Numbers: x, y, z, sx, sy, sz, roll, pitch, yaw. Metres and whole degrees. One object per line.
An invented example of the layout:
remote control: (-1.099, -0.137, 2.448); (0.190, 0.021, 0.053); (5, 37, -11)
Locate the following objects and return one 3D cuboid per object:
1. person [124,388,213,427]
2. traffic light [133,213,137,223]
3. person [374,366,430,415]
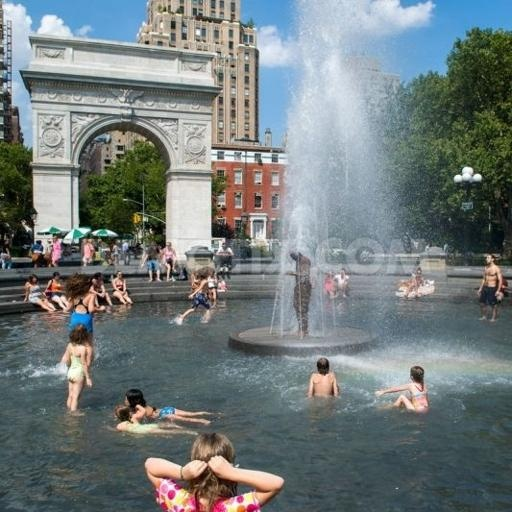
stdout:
person: (-1.072, 1.901, 8.253); (1.046, 0.455, 0.473); (9, 3, -1)
traffic light: (-8.260, -2.677, 46.498); (0.316, 0.648, 2.628); (1, 2, -9)
person: (1.991, 1.688, 8.692); (0.800, 0.643, 0.563); (3, 4, -22)
